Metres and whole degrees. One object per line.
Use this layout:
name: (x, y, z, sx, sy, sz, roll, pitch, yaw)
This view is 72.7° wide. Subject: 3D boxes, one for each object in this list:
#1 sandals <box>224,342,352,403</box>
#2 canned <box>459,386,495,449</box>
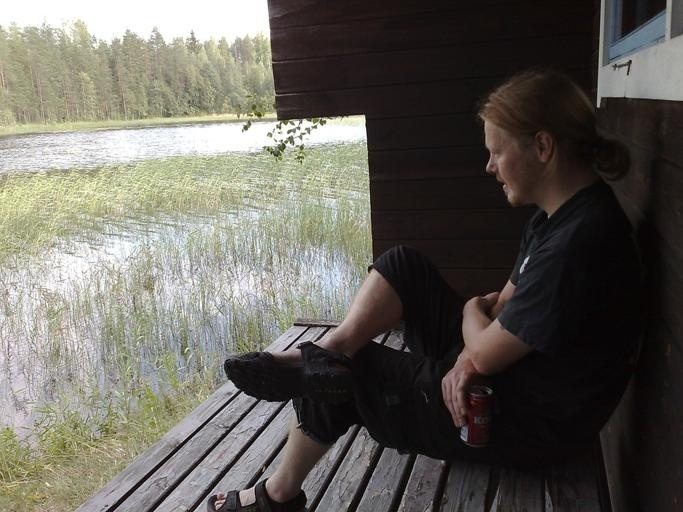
sandals: (-0.154, 0.427, 1.724, 0.488, 0.219, 0.207, 0, 60, 7)
canned: (0.452, 0.522, 1.540, 0.109, 0.200, 0.073, -4, 16, 5)
